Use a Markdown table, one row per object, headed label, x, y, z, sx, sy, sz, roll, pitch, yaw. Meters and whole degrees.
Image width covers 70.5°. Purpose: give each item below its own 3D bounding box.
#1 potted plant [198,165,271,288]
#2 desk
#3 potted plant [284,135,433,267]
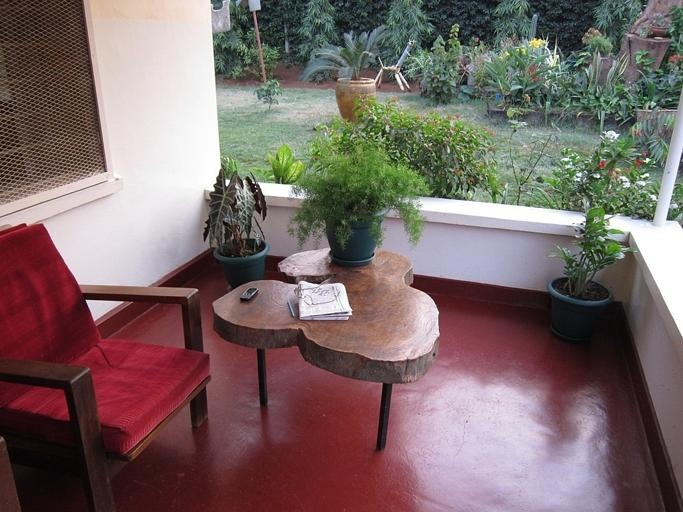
| label | x | y | z | sx | sy | sz | roll | pitch | yaw |
| --- | --- | --- | --- | --- | --- | --- | --- | --- | --- |
| potted plant | -0.782 | -0.191 | 3.951 | 0.553 | 1.069 | 0.597 | -13 | 17 | -15 |
| desk | -0.012 | 0.354 | 2.525 | 0.950 | 0.586 | 1.140 | 9 | 25 | 19 |
| potted plant | 0.089 | -0.487 | 3.027 | 0.751 | 0.730 | 0.764 | -2 | 27 | -2 |
